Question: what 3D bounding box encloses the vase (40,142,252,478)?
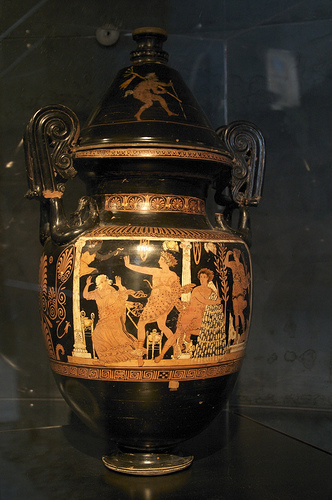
[{"bbox_3d":[-0.051,0.171,1.753,0.600,0.936,0.358,0,1,-11],"label":"vase"}]
